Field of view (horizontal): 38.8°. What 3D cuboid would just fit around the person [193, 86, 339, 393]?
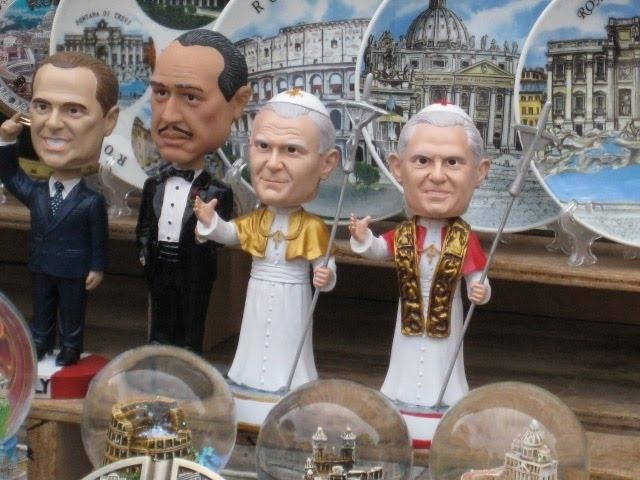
[{"bbox_3d":[-0.183,-0.003,3.124,0.485,1.037,0.246,4,5,2],"label":"person"}]

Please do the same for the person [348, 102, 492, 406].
[{"bbox_3d":[0.334,0.045,3.067,0.474,1.022,0.220,4,5,4],"label":"person"}]
